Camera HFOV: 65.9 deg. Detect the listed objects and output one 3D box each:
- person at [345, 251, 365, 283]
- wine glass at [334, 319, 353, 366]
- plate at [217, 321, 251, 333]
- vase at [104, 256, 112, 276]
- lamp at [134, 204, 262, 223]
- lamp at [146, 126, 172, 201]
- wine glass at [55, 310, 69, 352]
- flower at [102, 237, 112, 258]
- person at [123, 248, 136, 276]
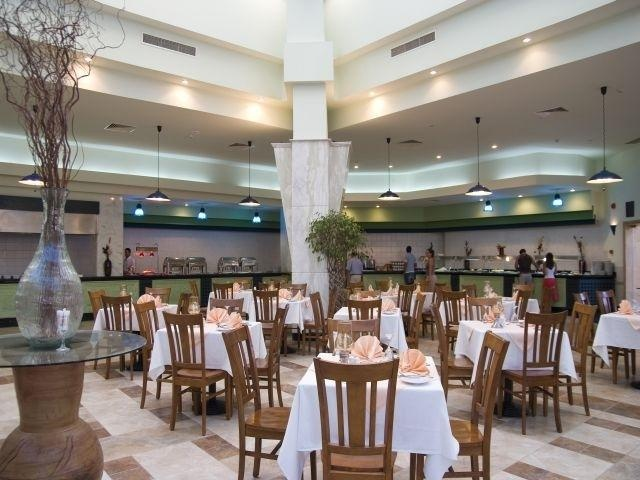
[{"bbox_3d":[0.767,0.779,11.010,0.376,1.076,0.317,-2,15,-8],"label":"person"},{"bbox_3d":[0.192,0.851,4.052,0.165,0.330,0.164,4,-13,-37],"label":"wine glass"},{"bbox_3d":[-0.933,0.911,5.218,0.208,0.053,0.205,-2,1,24],"label":"plate"},{"bbox_3d":[-5.091,0.629,11.800,0.199,0.477,0.737,1,-4,-23],"label":"vase"},{"bbox_3d":[-3.878,-0.816,14.917,3.934,0.607,0.287,1,8,-31],"label":"lamp"},{"bbox_3d":[-3.402,-1.630,10.377,0.472,1.542,0.457,-2,10,-33],"label":"lamp"},{"bbox_3d":[-2.033,0.696,3.894,0.094,0.317,0.237,1,-3,-28],"label":"wine glass"},{"bbox_3d":[-5.238,0.154,12.133,0.214,0.494,0.256,1,-2,-27],"label":"flower"},{"bbox_3d":[-4.822,0.518,12.395,0.246,0.663,0.775,1,-3,-22],"label":"person"}]
